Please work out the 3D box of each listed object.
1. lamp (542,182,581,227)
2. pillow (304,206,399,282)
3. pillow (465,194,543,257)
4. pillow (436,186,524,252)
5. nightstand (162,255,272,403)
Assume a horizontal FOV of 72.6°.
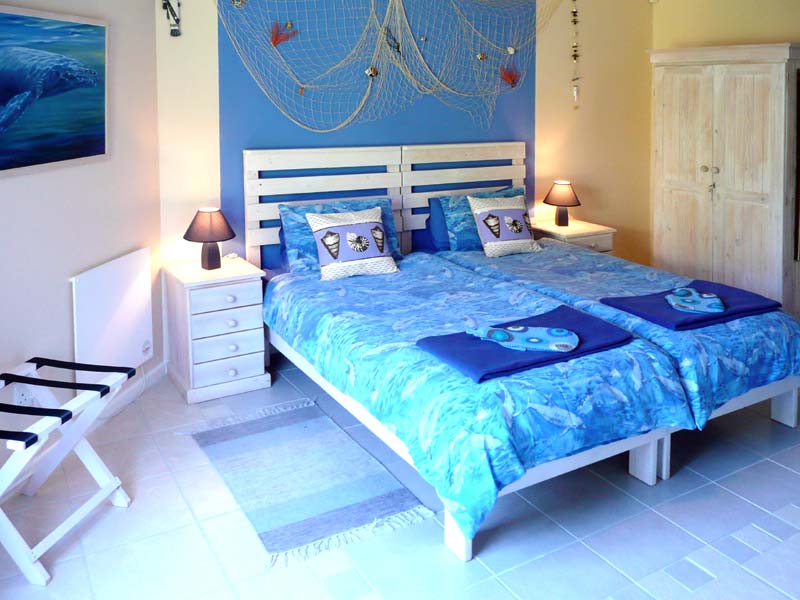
[{"bbox_3d":[1.454,-0.904,5.174,0.425,0.431,0.411,0,15,7],"label":"lamp"},{"bbox_3d":[-0.344,-0.416,4.062,0.579,0.472,0.392,-10,17,-15],"label":"pillow"},{"bbox_3d":[0.847,-0.624,4.528,0.574,0.504,0.162,-8,-15,-26],"label":"pillow"},{"bbox_3d":[0.487,-0.685,4.657,0.695,0.527,0.193,-7,-11,-4],"label":"pillow"},{"bbox_3d":[-1.250,0.150,4.269,0.957,1.196,0.917,-8,14,-31],"label":"nightstand"}]
